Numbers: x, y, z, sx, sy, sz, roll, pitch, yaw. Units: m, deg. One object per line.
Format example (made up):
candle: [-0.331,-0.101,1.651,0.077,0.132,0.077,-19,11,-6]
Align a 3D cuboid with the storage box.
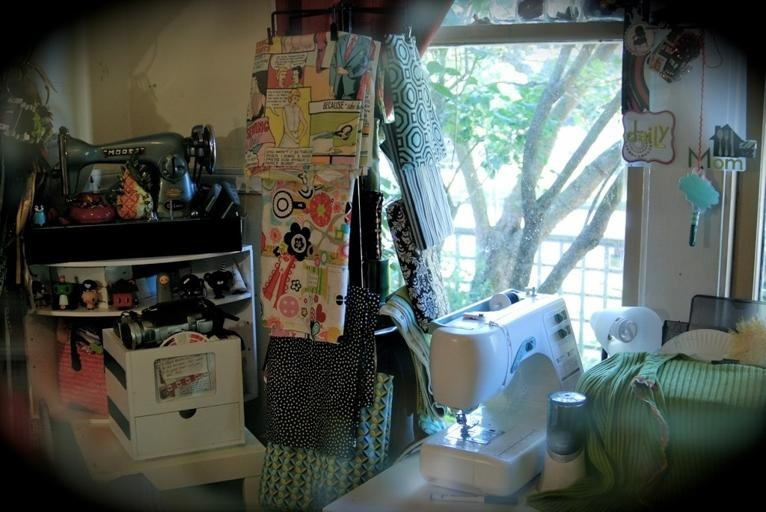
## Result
storage box: [-0.879,0.497,2.642,0.532,0.516,0.522,-3,4,-34]

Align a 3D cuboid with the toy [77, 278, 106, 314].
toy: [-1.257,0.164,2.626,0.136,0.183,0.094,-6,2,-34]

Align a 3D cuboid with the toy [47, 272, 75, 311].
toy: [-1.376,0.155,2.616,0.103,0.146,0.043,2,2,12]

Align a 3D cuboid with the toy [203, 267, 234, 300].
toy: [-0.754,0.112,2.842,0.169,0.155,0.118,0,-1,-31]

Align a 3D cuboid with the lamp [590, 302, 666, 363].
lamp: [0.917,0.248,2.313,0.216,0.200,0.318,-2,8,-45]

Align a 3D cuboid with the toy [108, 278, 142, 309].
toy: [-1.120,0.165,2.642,0.117,0.115,0.121,-1,-1,-18]

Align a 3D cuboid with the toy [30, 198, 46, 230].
toy: [-1.396,-0.172,2.479,0.026,0.105,0.058,3,3,44]
